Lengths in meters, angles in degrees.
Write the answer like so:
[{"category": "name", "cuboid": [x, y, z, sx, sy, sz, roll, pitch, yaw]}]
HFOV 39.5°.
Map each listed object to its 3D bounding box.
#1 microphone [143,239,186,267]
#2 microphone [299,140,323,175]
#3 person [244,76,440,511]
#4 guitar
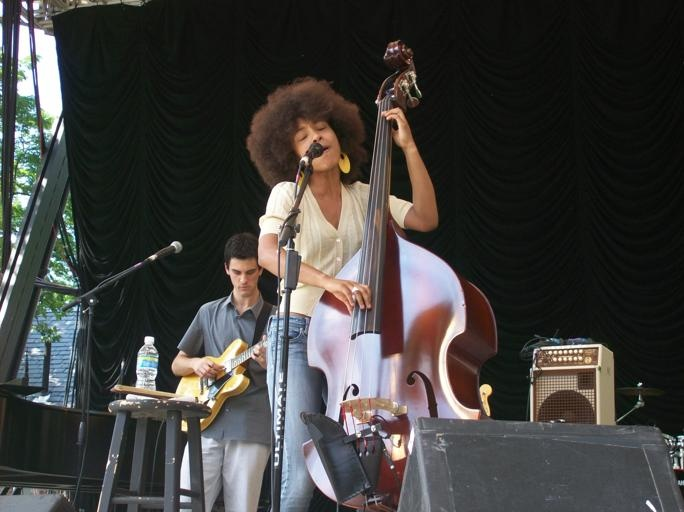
[{"category": "microphone", "cuboid": [-2.038, -0.022, 11.043, 0.118, 0.149, 0.657, 10, 24, 26]}, {"category": "microphone", "cuboid": [-0.219, -0.711, 6.892, 0.098, 0.327, 0.099, 31, -35, 4]}, {"category": "person", "cuboid": [-0.036, 0.162, 7.300, 1.274, 3.481, 0.826, -3, -6, 19]}, {"category": "guitar", "cuboid": [-1.075, 1.132, 8.501, 1.161, 0.514, 0.176, -47, -46, 3]}]
